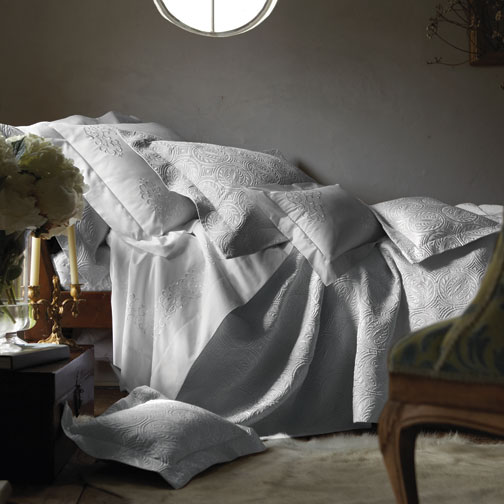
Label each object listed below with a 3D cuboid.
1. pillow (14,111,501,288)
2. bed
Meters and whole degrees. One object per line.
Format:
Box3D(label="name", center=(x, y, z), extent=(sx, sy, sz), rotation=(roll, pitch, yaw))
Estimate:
Box3D(label="pillow", center=(-0.007, -0.134, 1.725), extent=(1.357, 0.396, 0.847), rotation=(6, 22, 20))
Box3D(label="bed", center=(0.038, 0.220, 1.539), extent=(0.944, 0.231, 0.873), rotation=(9, 21, 23))
